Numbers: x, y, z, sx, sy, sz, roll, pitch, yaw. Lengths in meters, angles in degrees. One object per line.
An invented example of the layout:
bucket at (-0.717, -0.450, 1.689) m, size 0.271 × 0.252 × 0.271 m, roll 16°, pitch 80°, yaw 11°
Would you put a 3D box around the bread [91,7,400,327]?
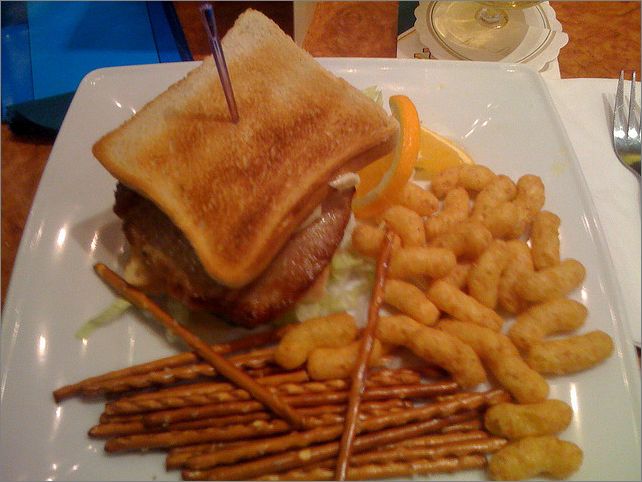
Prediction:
bread at (-0.273, -0.224, 1.907) m, size 0.772 × 0.376 × 0.897 m, roll 36°, pitch 70°, yaw 20°
